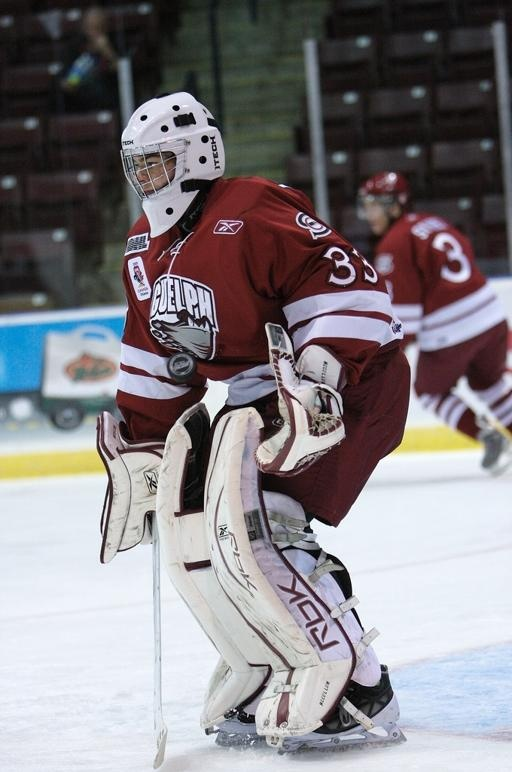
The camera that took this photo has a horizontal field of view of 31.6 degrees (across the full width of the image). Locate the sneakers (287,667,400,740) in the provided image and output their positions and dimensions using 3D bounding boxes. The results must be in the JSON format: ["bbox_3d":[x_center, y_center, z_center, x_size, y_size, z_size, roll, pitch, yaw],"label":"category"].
[{"bbox_3d":[0.153,0.491,1.389,0.195,0.111,0.070,2,-9,-13],"label":"sneakers"}]

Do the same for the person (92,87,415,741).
[{"bbox_3d":[0.005,0.036,1.423,0.388,0.996,0.593,-12,16,-38],"label":"person"}]
